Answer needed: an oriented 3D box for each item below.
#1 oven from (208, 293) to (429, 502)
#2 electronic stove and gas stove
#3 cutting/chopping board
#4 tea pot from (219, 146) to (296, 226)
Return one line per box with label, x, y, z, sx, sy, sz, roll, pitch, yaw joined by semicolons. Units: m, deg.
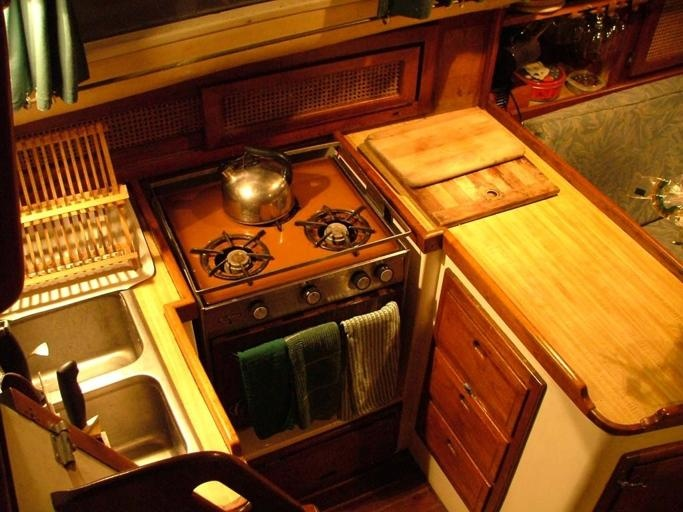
oven;-0.100;0.498;2.166;0.948;1.184;0.337;-11;40;-16
electronic stove and gas stove;-0.186;-0.059;1.788;0.499;0.123;0.544;-16;43;-20
cutting/chopping board;0.383;-0.314;1.930;0.467;0.079;0.459;-20;56;-19
tea pot;-0.269;-0.222;1.848;0.243;0.199;0.194;-9;39;-9
